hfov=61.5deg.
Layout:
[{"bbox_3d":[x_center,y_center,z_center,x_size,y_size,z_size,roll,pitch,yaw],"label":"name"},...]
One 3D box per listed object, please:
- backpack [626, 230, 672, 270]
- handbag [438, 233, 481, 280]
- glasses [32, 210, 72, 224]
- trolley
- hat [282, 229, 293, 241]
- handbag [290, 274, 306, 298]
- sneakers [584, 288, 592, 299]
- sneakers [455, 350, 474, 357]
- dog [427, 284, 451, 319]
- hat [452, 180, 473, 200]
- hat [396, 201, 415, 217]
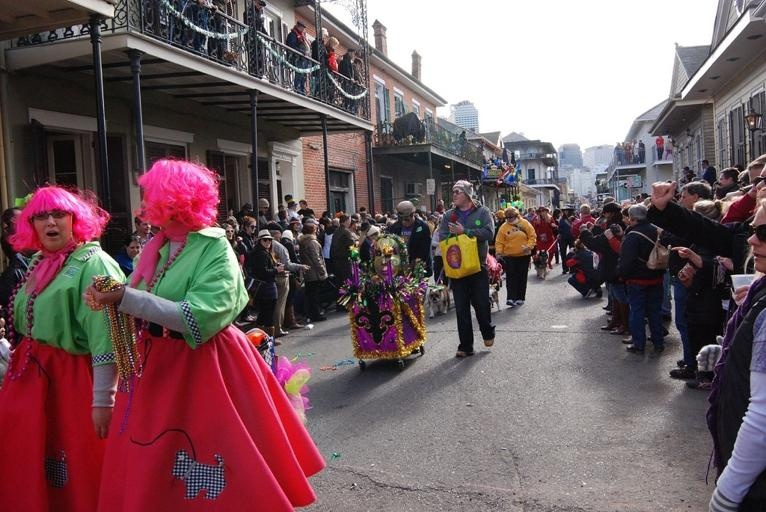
[{"bbox_3d":[3.478,-0.068,8.538,0.453,0.464,0.283,11,9,36],"label":"backpack"},{"bbox_3d":[1.043,-0.091,8.932,0.278,0.784,0.553,-7,-5,-37],"label":"handbag"},{"bbox_3d":[-2.491,-0.302,4.829,0.281,0.078,0.080,-2,7,6],"label":"glasses"},{"bbox_3d":[-0.042,0.842,8.868,0.985,1.245,0.955,-4,-5,4],"label":"trolley"},{"bbox_3d":[-1.790,-0.387,12.126,0.191,0.209,0.262,4,-2,-9],"label":"hat"},{"bbox_3d":[-1.597,0.546,12.180,0.357,0.618,0.298,1,-1,-28],"label":"handbag"},{"bbox_3d":[4.360,0.815,13.711,0.114,0.350,0.130,13,-4,-4],"label":"sneakers"},{"bbox_3d":[1.130,1.362,8.966,0.242,0.109,0.086,10,-10,-40],"label":"sneakers"},{"bbox_3d":[1.100,0.836,12.896,0.314,0.591,0.990,-2,11,12],"label":"dog"},{"bbox_3d":[1.126,-0.937,9.153,0.237,0.291,0.330,1,4,14],"label":"hat"},{"bbox_3d":[0.354,-0.776,10.542,0.293,0.236,0.245,-5,-8,43],"label":"hat"}]
